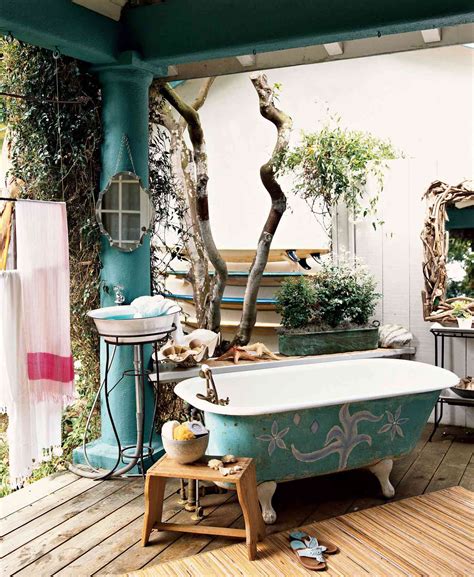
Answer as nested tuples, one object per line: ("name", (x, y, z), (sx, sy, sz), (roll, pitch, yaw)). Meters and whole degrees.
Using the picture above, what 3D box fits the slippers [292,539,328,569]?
("slippers", (0.307, 1.103, 2.073), (0.137, 0.031, 0.196), (-1, -1, -1))

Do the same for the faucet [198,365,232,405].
("faucet", (-0.120, 0.460, 2.426), (0.103, 0.156, 0.156), (-12, 10, -30))

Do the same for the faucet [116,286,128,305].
("faucet", (-0.706, 0.044, 3.033), (0.067, 0.112, 0.115), (-1, 0, -14))

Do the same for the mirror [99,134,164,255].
("mirror", (-0.669, -0.457, 3.031), (0.351, 0.625, 0.068), (-1, 0, -12))

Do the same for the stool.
("stool", (-0.138, 0.934, 2.173), (0.492, 0.278, 0.266), (-3, -9, 17))

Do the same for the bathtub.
("bathtub", (0.486, 0.712, 2.805), (1.661, 0.584, 0.785), (0, -1, -23))
